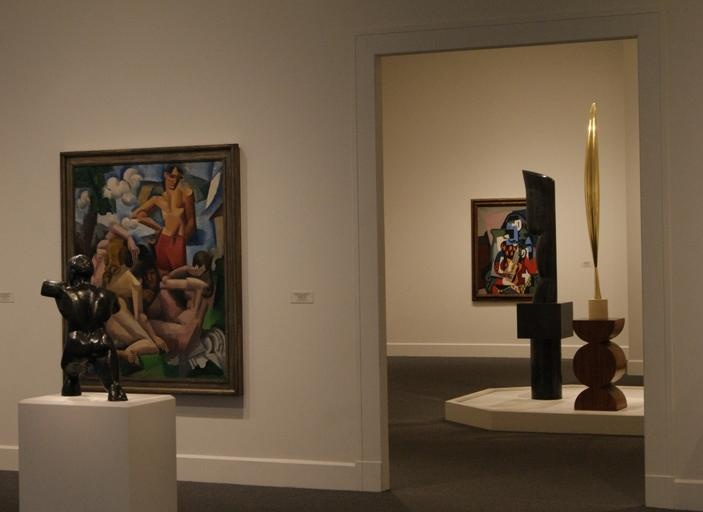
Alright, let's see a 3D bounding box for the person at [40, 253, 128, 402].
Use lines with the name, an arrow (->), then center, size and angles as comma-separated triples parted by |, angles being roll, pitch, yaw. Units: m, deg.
person -> -2.083, 0.555, 5.899 | 0.718, 1.113, 0.353 | 0, 1, 17
